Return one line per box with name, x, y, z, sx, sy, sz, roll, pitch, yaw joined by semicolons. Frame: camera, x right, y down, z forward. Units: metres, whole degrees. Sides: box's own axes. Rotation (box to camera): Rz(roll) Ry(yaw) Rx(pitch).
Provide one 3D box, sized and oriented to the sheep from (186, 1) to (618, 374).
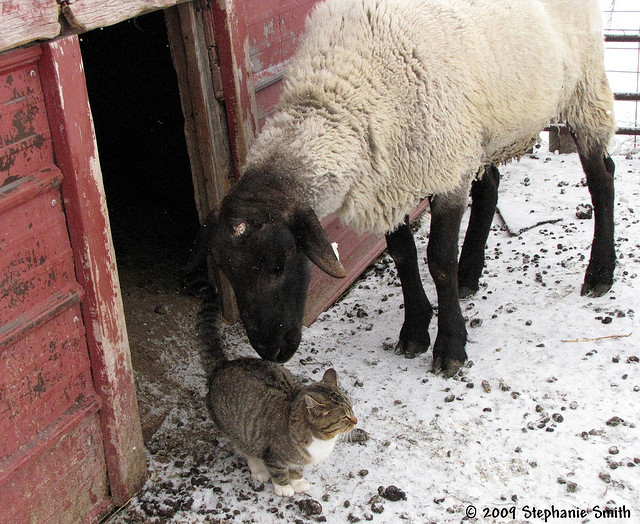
sheep;0.714;-0.471;4.069;3.446;2.322;1.211;-21;35;-28
